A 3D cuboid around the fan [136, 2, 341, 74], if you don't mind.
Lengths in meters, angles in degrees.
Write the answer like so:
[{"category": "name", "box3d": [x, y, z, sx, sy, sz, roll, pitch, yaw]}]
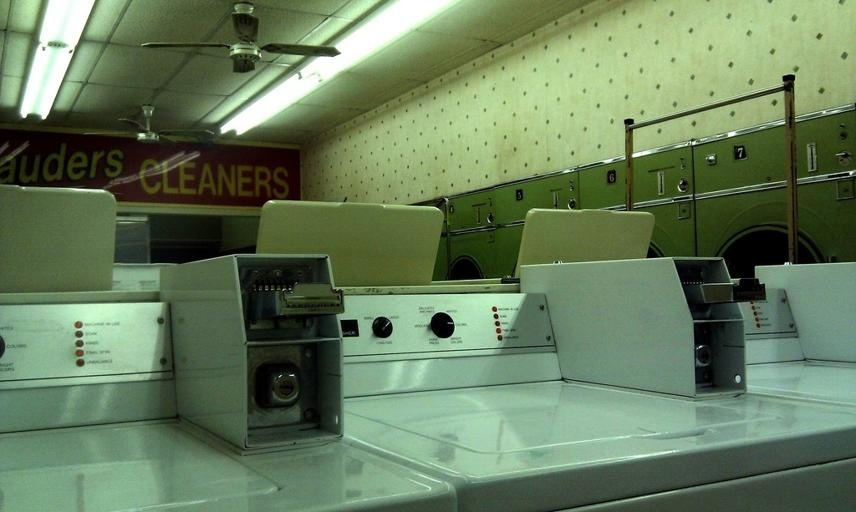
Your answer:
[{"category": "fan", "box3d": [-1.382, -1.633, 5.249, 1.125, 0.381, 1.108, -1, 1, 7]}]
